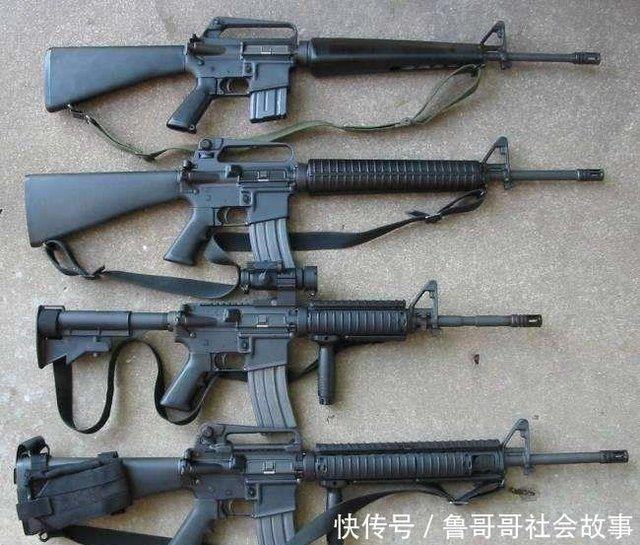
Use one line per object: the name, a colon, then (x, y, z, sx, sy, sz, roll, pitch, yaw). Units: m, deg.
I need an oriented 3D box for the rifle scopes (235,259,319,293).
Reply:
rifle scopes: (-0.167, 0.028, 3.711, 0.408, 0.109, 0.150, 1, -29, 0)
